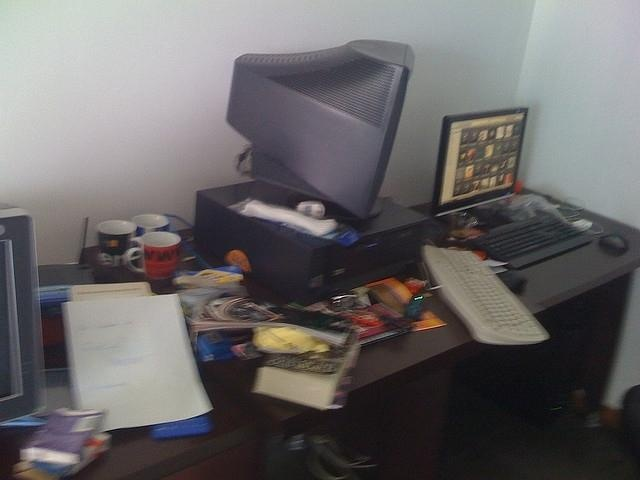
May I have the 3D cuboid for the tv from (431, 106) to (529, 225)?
[{"bbox_3d":[0.559,-0.259,1.631,0.475,0.321,0.051,-13,31,-32],"label":"tv"}]

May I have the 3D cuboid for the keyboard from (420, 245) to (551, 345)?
[{"bbox_3d":[0.415,0.106,1.167,0.178,0.052,0.298,0,36,-23],"label":"keyboard"}]

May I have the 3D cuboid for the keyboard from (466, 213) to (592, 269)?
[{"bbox_3d":[0.661,0.003,1.514,0.023,0.191,0.340,-27,15,-33],"label":"keyboard"}]

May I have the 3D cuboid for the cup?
[{"bbox_3d":[-0.439,0.011,1.210,0.127,0.104,0.228,28,31,28],"label":"cup"}]

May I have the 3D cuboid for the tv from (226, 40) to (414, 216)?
[{"bbox_3d":[0.010,-0.310,1.304,0.514,0.355,0.494,7,-12,5],"label":"tv"}]
